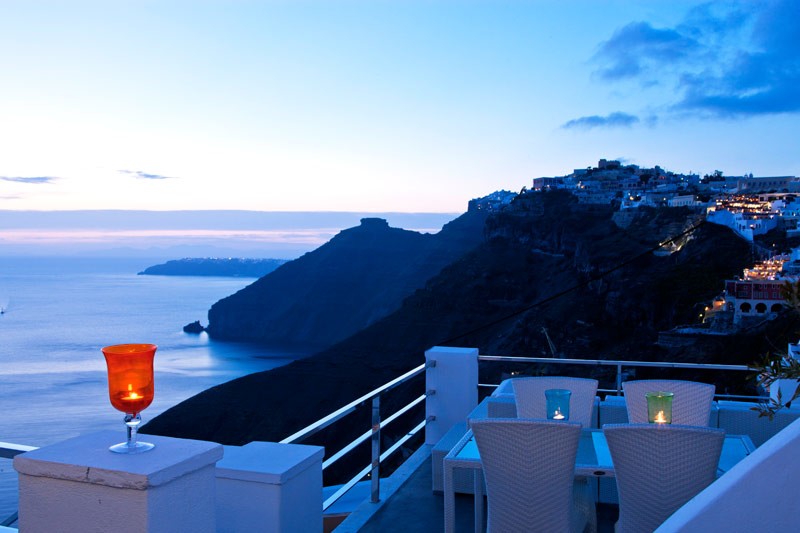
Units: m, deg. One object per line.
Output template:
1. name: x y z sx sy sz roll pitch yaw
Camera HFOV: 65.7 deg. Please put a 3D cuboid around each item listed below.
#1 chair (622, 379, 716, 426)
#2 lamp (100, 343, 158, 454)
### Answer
1. chair: 1.775 0.941 4.220 0.561 0.225 0.492 -12 -20 37
2. lamp: -1.082 0.502 2.452 0.199 0.418 0.339 2 6 -24
